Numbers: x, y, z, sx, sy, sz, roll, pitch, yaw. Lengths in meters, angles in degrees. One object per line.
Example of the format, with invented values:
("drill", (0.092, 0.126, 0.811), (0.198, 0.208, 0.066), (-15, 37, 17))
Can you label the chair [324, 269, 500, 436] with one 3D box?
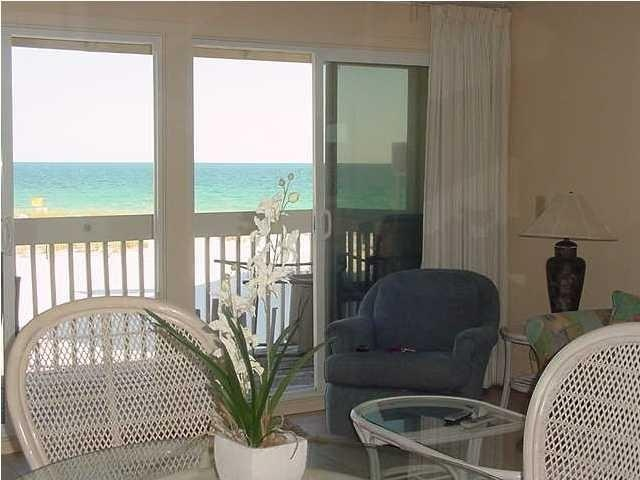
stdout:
("chair", (0.588, 0.708, 3.663), (0.949, 1.085, 0.997), (-3, -14, 25))

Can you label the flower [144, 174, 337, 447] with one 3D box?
("flower", (-0.134, 0.205, 1.321), (0.324, 0.600, 0.337), (0, -21, 46))
